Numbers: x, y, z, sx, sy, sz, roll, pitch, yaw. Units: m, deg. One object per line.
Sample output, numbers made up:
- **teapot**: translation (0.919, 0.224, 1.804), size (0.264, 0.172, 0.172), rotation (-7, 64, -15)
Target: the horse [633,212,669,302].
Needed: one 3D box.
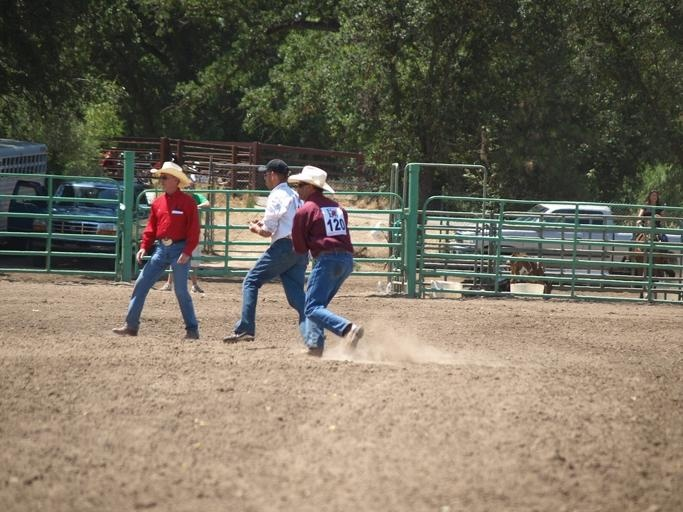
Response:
- **horse**: translation (6.150, 0.044, 20.119), size (0.668, 1.792, 2.358), rotation (4, -12, 20)

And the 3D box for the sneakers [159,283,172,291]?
- **sneakers**: translation (-3.328, 0.595, 18.748), size (0.271, 0.122, 0.102), rotation (5, 5, -3)

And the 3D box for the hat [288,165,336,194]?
- **hat**: translation (-0.405, -1.062, 13.801), size (0.449, 0.196, 0.423), rotation (20, 1, -19)

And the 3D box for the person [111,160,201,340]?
- **person**: translation (-2.617, -0.077, 14.639), size (1.182, 2.535, 0.804), rotation (2, -6, -9)

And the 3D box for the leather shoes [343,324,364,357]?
- **leather shoes**: translation (0.156, 1.133, 13.633), size (0.218, 0.492, 0.172), rotation (26, 15, 31)

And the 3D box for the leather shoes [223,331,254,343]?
- **leather shoes**: translation (-1.486, 1.178, 14.425), size (0.441, 0.195, 0.164), rotation (3, -1, -3)

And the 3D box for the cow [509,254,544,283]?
- **cow**: translation (3.612, 0.290, 19.586), size (0.676, 0.563, 1.385), rotation (3, 3, 10)

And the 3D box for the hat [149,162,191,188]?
- **hat**: translation (-2.399, -1.190, 14.683), size (0.439, 0.185, 0.471), rotation (11, -15, 42)

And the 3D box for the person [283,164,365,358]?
- **person**: translation (-0.268, 0.100, 13.781), size (1.005, 2.627, 0.706), rotation (2, 3, -3)

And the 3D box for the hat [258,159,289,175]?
- **hat**: translation (-0.949, -1.251, 14.164), size (0.306, 0.165, 0.231), rotation (8, 7, 15)

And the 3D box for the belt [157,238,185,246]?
- **belt**: translation (-2.545, -0.190, 14.510), size (0.213, 0.091, 0.057), rotation (3, 3, 10)

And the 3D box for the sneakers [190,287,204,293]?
- **sneakers**: translation (-2.690, 0.641, 18.816), size (0.302, 0.134, 0.107), rotation (5, 2, -30)

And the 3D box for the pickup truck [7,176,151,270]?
- **pickup truck**: translation (-5.775, -0.687, 21.370), size (1.592, 1.347, 3.386), rotation (1, -4, 0)
